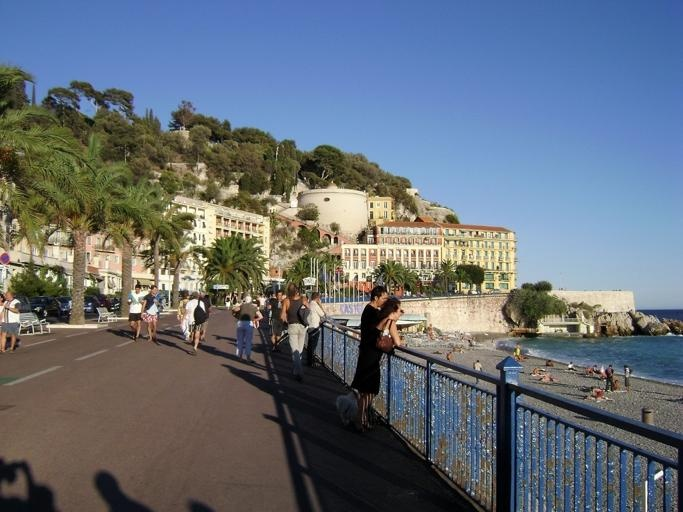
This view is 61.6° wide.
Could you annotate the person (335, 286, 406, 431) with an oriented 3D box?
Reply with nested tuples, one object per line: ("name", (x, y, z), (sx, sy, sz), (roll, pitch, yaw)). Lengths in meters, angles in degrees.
("person", (0.441, 1.518, 8.296), (0.645, 2.291, 1.101), (2, -3, -23))

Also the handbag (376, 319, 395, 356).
("handbag", (0.635, 1.123, 8.063), (0.292, 0.465, 0.124), (4, -4, -41))

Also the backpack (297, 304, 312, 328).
("backpack", (-0.862, 1.314, 13.184), (0.150, 0.460, 0.302), (3, -2, -25))
